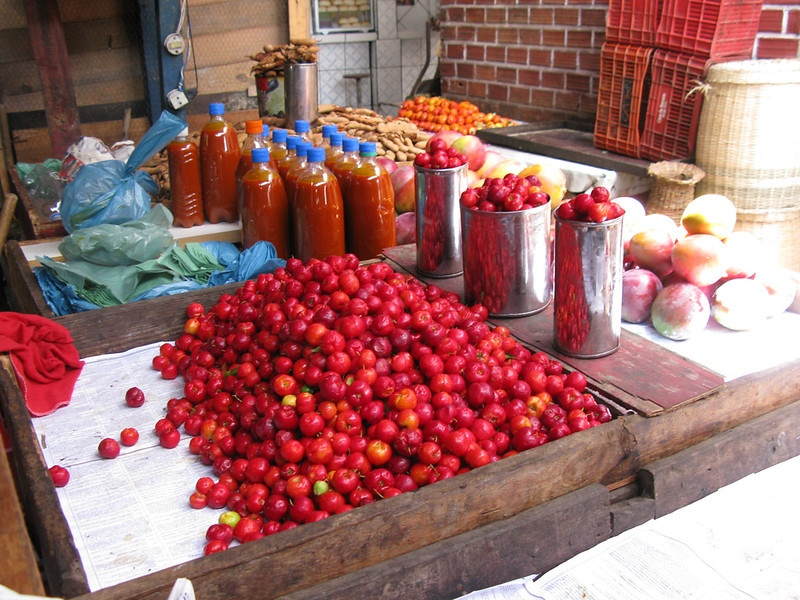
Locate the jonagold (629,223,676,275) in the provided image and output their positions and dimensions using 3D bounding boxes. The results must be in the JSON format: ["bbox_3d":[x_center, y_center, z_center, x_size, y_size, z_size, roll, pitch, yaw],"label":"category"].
[{"bbox_3d":[0.826,-0.169,1.984,0.122,0.126,0.164,-5,26,4],"label":"jonagold"}]

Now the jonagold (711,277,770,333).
[{"bbox_3d":[1.034,0.014,1.885,0.185,0.158,0.158,2,-16,-7],"label":"jonagold"}]

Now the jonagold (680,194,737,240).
[{"bbox_3d":[1.013,-0.280,1.975,0.135,0.155,0.138,13,-11,2],"label":"jonagold"}]

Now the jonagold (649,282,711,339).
[{"bbox_3d":[0.848,0.038,1.864,0.164,0.161,0.198,17,21,26],"label":"jonagold"}]

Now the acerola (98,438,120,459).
[{"bbox_3d":[-0.763,0.387,1.547,0.053,0.052,0.045,-13,24,-22],"label":"acerola"}]

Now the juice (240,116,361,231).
[{"bbox_3d":[-0.392,-0.494,2.515,0.497,0.542,0.491,-1,9,-5],"label":"juice"}]

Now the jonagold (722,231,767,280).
[{"bbox_3d":[1.090,-0.130,1.892,0.129,0.154,0.086,4,-11,-1],"label":"jonagold"}]

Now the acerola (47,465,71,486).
[{"bbox_3d":[-0.840,0.430,1.464,0.037,0.051,0.048,-16,26,-29],"label":"acerola"}]
